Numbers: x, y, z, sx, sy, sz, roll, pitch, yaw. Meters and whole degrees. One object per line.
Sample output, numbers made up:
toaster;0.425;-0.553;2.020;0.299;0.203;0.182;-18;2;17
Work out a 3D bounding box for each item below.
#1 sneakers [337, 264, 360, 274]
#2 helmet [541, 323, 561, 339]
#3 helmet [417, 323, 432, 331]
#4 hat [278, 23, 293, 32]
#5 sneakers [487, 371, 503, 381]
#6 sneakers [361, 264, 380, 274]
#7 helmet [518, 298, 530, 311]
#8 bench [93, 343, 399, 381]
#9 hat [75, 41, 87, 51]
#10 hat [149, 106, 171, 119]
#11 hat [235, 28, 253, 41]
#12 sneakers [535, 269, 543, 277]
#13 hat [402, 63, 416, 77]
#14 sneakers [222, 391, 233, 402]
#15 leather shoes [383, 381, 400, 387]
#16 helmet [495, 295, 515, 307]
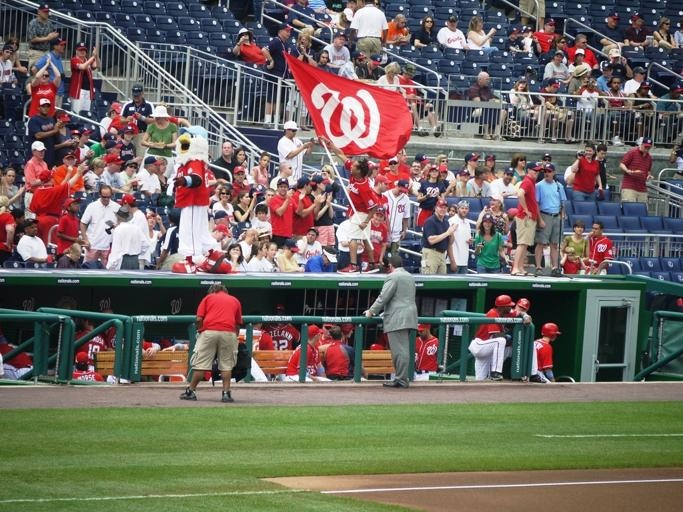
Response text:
sneakers;0.130;0.298;36.453;0.461;0.233;0.191;1;-10;-1
helmet;4.507;1.583;35.691;0.334;0.302;0.289;-4;14;-15
helmet;1.733;1.494;34.749;0.362;0.157;0.162;3;-6;-23
hat;-1.380;-5.606;41.269;0.328;0.191;0.247;9;4;-3
sneakers;3.233;2.523;35.073;0.118;0.167;0.324;-1;-2;-36
sneakers;0.651;0.304;36.658;0.378;0.181;0.147;2;-5;-5
helmet;3.881;1.043;35.625;0.241;0.277;0.540;-1;-6;13
bench;-2.143;2.070;32.844;4.250;0.708;0.639;-1;-3;-25
hat;-6.111;-4.907;39.131;0.282;0.162;0.419;-1;6;-22
hat;-4.130;-3.226;37.690;0.398;0.228;0.427;0;0;-2
hat;-2.498;-5.634;42.719;0.407;0.213;0.563;-5;-19;-5
sneakers;4.341;0.374;36.636;0.146;0.211;0.499;0;0;3
hat;1.716;-4.688;42.302;0.248;0.335;0.325;1;14;-4
sneakers;-2.136;2.625;31.234;0.226;0.215;0.290;1;-6;-5
leather shoes;1.014;2.574;33.464;0.356;0.167;0.125;4;1;28
helmet;3.442;0.945;35.200;0.354;0.238;0.279;2;-6;-12
